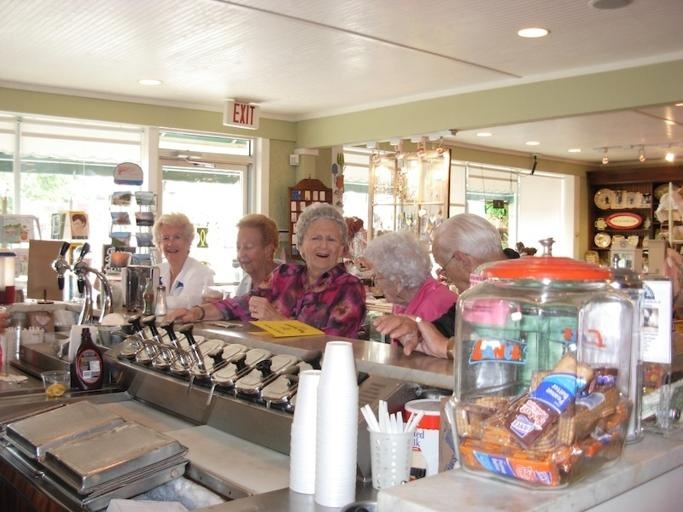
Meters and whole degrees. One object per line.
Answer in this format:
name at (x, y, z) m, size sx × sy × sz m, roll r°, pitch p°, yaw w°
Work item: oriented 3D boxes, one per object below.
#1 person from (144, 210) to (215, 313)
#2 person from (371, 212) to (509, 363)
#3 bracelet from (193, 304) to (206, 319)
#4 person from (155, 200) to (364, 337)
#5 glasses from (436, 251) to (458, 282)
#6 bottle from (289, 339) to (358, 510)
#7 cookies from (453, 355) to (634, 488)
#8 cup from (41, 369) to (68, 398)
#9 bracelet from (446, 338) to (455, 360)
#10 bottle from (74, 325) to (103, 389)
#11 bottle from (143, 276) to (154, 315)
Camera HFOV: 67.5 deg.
person at (-1.361, 0.075, 4.217) m, size 0.660 × 0.805 × 0.583 m, roll -6°, pitch -9°, yaw 41°
person at (0.440, 0.084, 2.070) m, size 0.369 × 0.543 × 0.995 m, roll 3°, pitch 3°, yaw 20°
bracelet at (-0.689, 0.277, 2.490) m, size 0.017 × 0.055 × 0.059 m, roll -9°, pitch 21°, yaw -3°
person at (-0.273, 0.052, 2.667) m, size 0.799 × 0.685 × 0.680 m, roll 2°, pitch 3°, yaw 9°
glasses at (0.513, 0.048, 2.500) m, size 0.074 × 0.207 × 0.220 m, roll -3°, pitch 3°, yaw 18°
bottle at (-0.041, 0.382, 1.161) m, size 0.161 × 0.378 × 0.146 m, roll 2°, pitch 3°, yaw 0°
cookies at (0.353, 0.266, 0.911) m, size 0.282 × 0.082 × 0.216 m, roll -4°, pitch -2°, yaw -44°
cup at (-1.215, 0.552, 2.187) m, size 0.100 × 0.079 × 0.114 m, roll 1°, pitch -5°, yaw -5°
bracelet at (0.343, 0.296, 1.619) m, size 0.019 × 0.050 × 0.121 m, roll 3°, pitch 3°, yaw 15°
bottle at (-1.110, 0.449, 2.249) m, size 0.118 × 0.268 × 0.138 m, roll 1°, pitch 3°, yaw -17°
bottle at (-1.127, 0.231, 2.995) m, size 0.065 × 0.196 × 0.254 m, roll 1°, pitch 3°, yaw -20°
